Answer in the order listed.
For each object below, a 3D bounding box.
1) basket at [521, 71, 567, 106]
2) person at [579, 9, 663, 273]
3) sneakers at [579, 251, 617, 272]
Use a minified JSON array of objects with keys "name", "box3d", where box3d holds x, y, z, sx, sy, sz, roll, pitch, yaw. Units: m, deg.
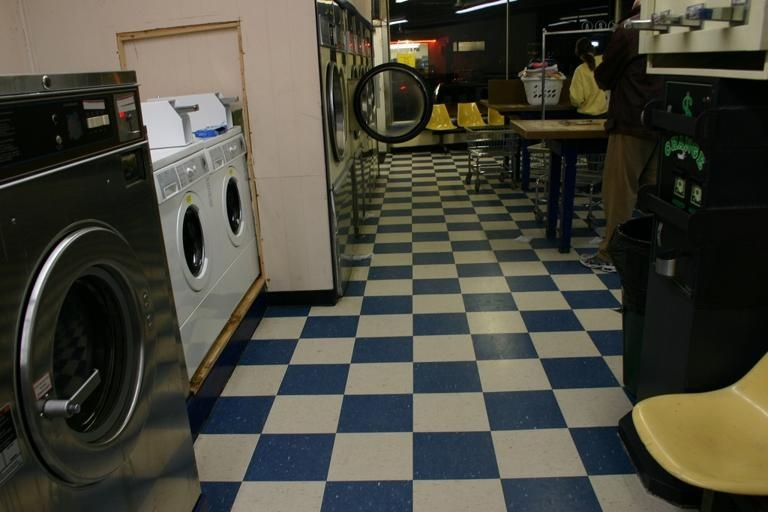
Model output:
[{"name":"basket","box3d":[1.736,-1.718,5.537,0.497,0.435,0.654,-1,17,4]},{"name":"person","box3d":[1.794,-0.882,3.998,0.518,1.576,0.402,15,29,41]},{"name":"sneakers","box3d":[1.631,0.049,4.035,0.218,0.114,0.089,18,18,24]}]
